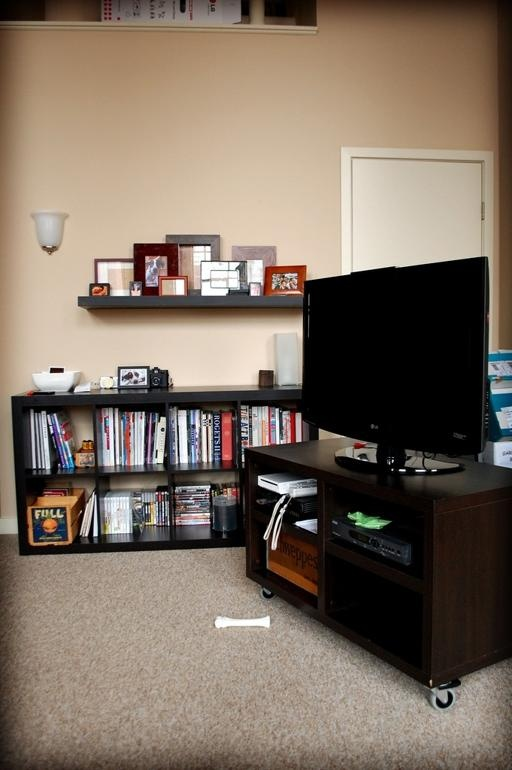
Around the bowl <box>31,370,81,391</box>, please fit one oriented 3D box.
[{"bbox_3d":[-0.897,-0.014,3.016,0.146,0.092,0.274,2,3,28],"label":"bowl"}]

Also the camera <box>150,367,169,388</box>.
[{"bbox_3d":[-0.455,-0.017,3.044,0.115,0.123,0.077,0,-5,-10],"label":"camera"}]

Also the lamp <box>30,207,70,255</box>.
[{"bbox_3d":[-0.975,-0.729,3.040,0.160,0.208,0.167,0,2,1],"label":"lamp"}]

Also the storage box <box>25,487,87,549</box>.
[{"bbox_3d":[-0.885,0.582,2.888,0.189,0.182,0.285,0,10,-1],"label":"storage box"}]

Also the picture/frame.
[{"bbox_3d":[-0.262,-0.550,3.043,0.994,0.286,0.246,0,3,-8],"label":"picture/frame"}]

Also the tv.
[{"bbox_3d":[0.384,-0.042,1.879,0.206,0.572,0.734,-4,6,-33],"label":"tv"}]

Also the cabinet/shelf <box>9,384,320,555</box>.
[{"bbox_3d":[-0.356,0.420,3.025,1.393,0.795,0.340,-9,6,-32],"label":"cabinet/shelf"}]
